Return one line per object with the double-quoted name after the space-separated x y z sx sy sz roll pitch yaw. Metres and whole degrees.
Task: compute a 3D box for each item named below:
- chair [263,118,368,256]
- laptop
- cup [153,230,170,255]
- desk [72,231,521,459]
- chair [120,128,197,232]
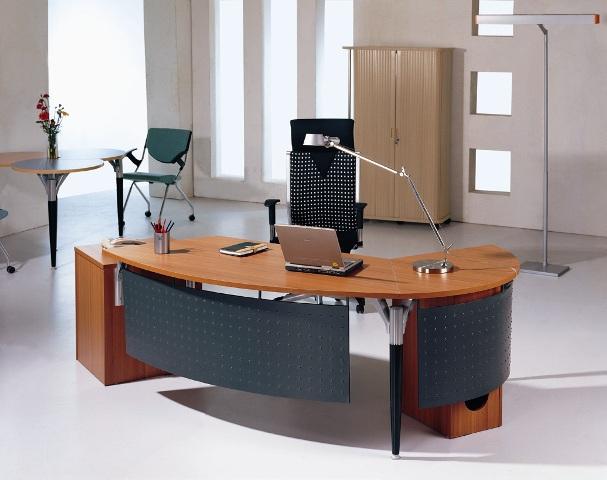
0.103 -0.188 4.426 0.739 1.487 0.763 4 14 15 "chair"
0.081 0.002 3.020 0.336 0.298 0.397 6 21 23 "laptop"
-0.836 0.009 3.398 0.106 0.161 0.110 0 10 0 "cup"
-0.134 0.438 3.245 2.414 1.002 0.879 8 16 27 "desk"
-1.922 -0.830 7.518 0.799 1.243 0.705 5 8 13 "chair"
